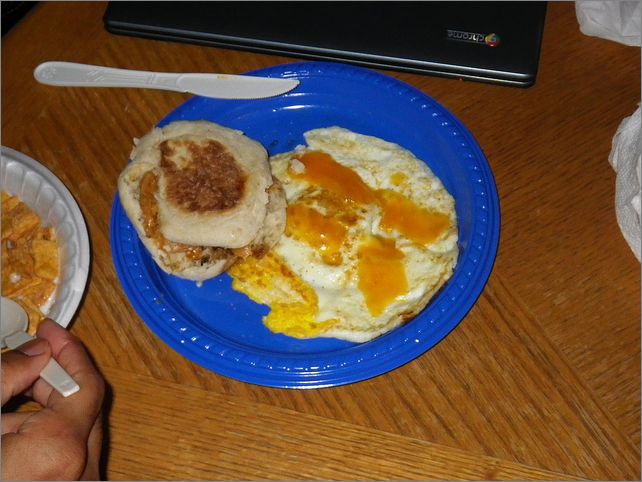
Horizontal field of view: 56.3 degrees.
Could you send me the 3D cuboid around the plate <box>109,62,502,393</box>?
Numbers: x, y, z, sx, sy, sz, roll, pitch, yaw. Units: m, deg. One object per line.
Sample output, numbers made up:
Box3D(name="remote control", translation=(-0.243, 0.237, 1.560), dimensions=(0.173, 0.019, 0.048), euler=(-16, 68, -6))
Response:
Box3D(name="plate", translation=(-0.032, 0.069, 1.703), dimensions=(1.071, 0.118, 1.092), euler=(-12, 71, 1))
